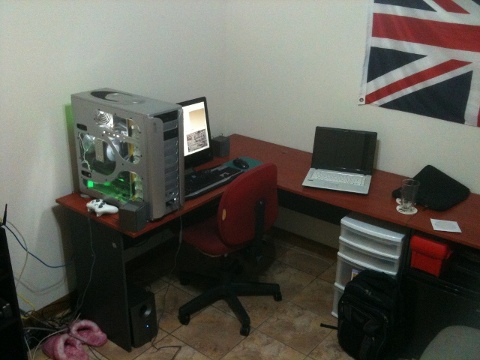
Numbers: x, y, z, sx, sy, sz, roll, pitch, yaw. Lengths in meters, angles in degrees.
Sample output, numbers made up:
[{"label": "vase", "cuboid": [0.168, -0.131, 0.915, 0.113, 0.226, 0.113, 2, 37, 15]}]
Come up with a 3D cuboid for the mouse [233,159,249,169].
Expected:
[{"label": "mouse", "cuboid": [0.009, -0.138, 3.264, 0.065, 0.046, 0.112, -1, 14, -35]}]

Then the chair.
[{"label": "chair", "cuboid": [-0.084, 0.507, 2.962, 0.669, 0.991, 0.702, 22, 31, 29]}]

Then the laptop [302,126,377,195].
[{"label": "laptop", "cuboid": [0.768, -0.142, 3.107, 0.540, 0.353, 0.527, 12, 43, 19]}]

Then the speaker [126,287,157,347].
[{"label": "speaker", "cuboid": [-0.650, 0.914, 2.766, 0.171, 0.333, 0.230, -4, 26, -10]}]

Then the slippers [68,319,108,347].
[{"label": "slippers", "cuboid": [-1.021, 1.036, 2.759, 0.227, 0.086, 0.137, 26, 28, 5]}]

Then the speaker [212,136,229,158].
[{"label": "speaker", "cuboid": [-0.158, -0.300, 3.487, 0.157, 0.171, 0.163, 13, 23, 32]}]
